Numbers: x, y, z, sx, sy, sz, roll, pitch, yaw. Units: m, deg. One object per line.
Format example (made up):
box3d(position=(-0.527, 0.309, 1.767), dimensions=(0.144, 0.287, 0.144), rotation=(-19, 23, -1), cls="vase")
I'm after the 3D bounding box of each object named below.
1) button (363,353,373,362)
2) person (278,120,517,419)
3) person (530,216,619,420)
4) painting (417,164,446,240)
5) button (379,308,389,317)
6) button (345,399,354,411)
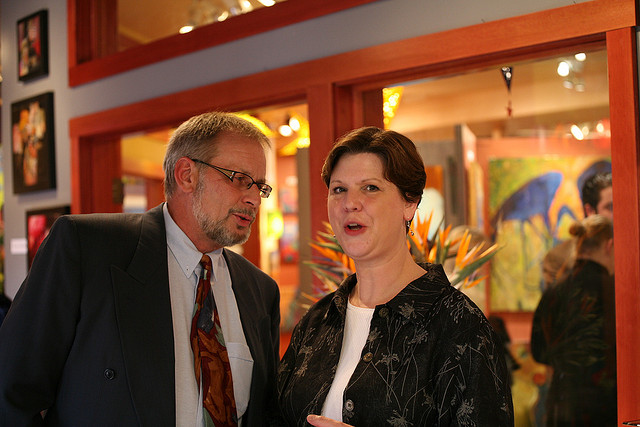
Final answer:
box3d(position=(0.219, 0.659, 2.885), dimensions=(0.035, 0.036, 0.011), rotation=(-24, -45, 12), cls="button")
box3d(position=(0.311, 0.281, 2.966), dimensions=(1.092, 1.383, 0.336), rotation=(-3, -4, 28), cls="person")
box3d(position=(1.800, 0.796, 4.321), dimensions=(0.375, 1.518, 1.295), rotation=(-1, -4, 5), cls="person")
box3d(position=(1.157, -0.200, 6.445), dimensions=(0.261, 0.711, 0.614), rotation=(-2, -4, 11), cls="painting")
box3d(position=(0.299, 0.461, 2.930), dimensions=(0.044, 0.040, 0.011), rotation=(-1, -4, 4), cls="button")
box3d(position=(0.133, 0.867, 2.849), dimensions=(0.041, 0.045, 0.004), rotation=(-2, -4, 21), cls="button")
